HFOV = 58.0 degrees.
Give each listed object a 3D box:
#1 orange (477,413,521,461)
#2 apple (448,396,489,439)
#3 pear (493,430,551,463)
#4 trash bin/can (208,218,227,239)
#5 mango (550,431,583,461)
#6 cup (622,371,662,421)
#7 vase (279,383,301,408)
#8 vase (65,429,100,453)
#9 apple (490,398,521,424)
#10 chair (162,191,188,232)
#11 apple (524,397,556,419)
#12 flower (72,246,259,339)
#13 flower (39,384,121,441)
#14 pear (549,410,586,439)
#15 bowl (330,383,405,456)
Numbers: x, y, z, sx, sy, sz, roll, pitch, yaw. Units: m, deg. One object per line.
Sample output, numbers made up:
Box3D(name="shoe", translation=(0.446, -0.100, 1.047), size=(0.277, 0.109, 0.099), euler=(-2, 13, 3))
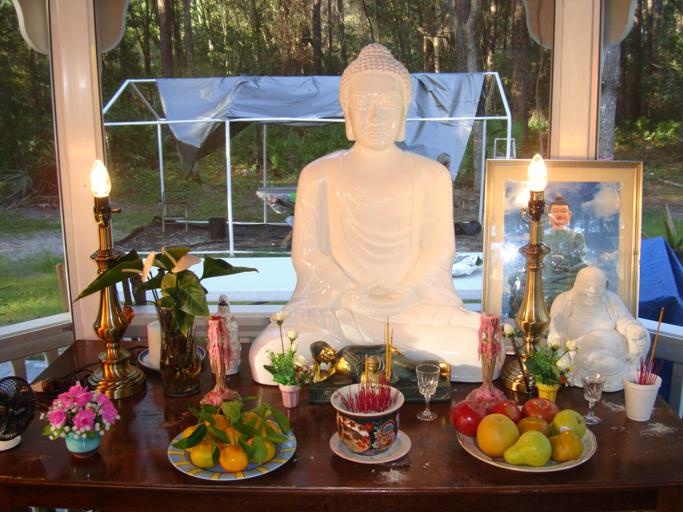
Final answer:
Box3D(name="orange", translation=(0.540, 0.614, 2.119), size=(0.134, 0.142, 0.139), euler=(-4, 8, 7))
Box3D(name="apple", translation=(0.497, 0.612, 2.270), size=(0.165, 0.145, 0.169), euler=(7, -23, -19))
Box3D(name="pear", translation=(0.634, 0.654, 2.119), size=(0.128, 0.102, 0.096), euler=(-7, 34, 17))
Box3D(name="trash bin/can", translation=(-1.180, -0.271, 5.907), size=(0.177, 0.216, 0.182), euler=(-1, 5, -13))
Box3D(name="mango", translation=(0.770, 0.650, 2.153), size=(0.097, 0.093, 0.097), euler=(-15, 6, -26))
Box3D(name="cup", translation=(1.153, 0.550, 2.451), size=(0.152, 0.180, 0.171), euler=(1, 5, 2))
Box3D(name="vase", translation=(-0.206, 0.562, 2.485), size=(0.088, 0.100, 0.092), euler=(0, -3, -2))
Box3D(name="vase", translation=(-0.916, 0.656, 2.183), size=(0.090, 0.073, 0.090), euler=(3, 15, 10))
Box3D(name="apple", translation=(0.601, 0.539, 2.211), size=(0.077, 0.081, 0.080), euler=(5, 15, 13))
Box3D(name="chair", translation=(-1.621, -0.455, 5.987), size=(0.263, 0.393, 0.428), euler=(-6, 12, -15))
Box3D(name="apple", translation=(0.719, 0.530, 2.215), size=(0.071, 0.070, 0.073), euler=(-6, 3, -29))
Box3D(name="flower", translation=(-0.718, 0.124, 2.515), size=(0.614, 0.366, 0.398), euler=(1, 12, 21))
Box3D(name="flower", translation=(-0.915, 0.547, 2.172), size=(0.208, 0.156, 0.199), euler=(8, 20, 20))
Box3D(name="pear", translation=(0.787, 0.572, 2.141), size=(0.101, 0.103, 0.100), euler=(6, 19, 38))
Box3D(name="bowl", translation=(0.096, 0.589, 2.232), size=(0.268, 0.214, 0.284), euler=(0, 6, 0))
